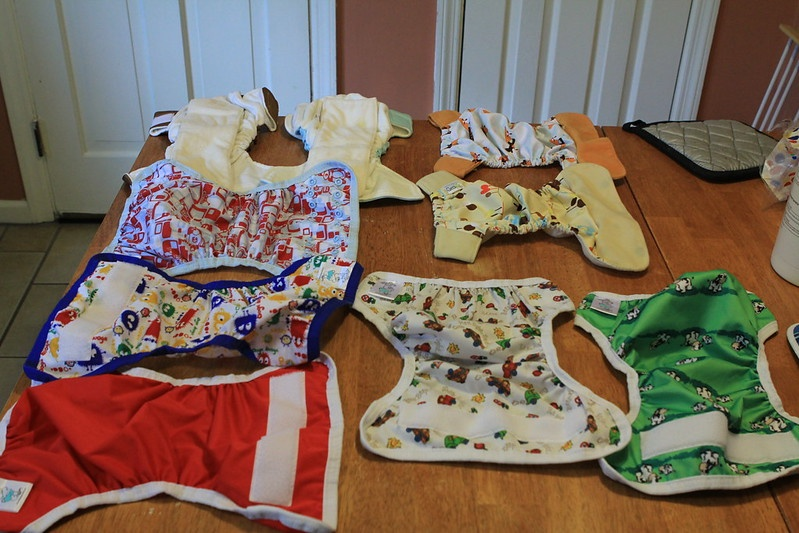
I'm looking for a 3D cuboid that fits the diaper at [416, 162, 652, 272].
[{"bbox_3d":[0.338,-0.119,1.662,0.354,0.086,0.292,0,37,-1],"label":"diaper"}]

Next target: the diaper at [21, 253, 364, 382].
[{"bbox_3d":[-0.423,0.110,1.450,0.541,0.083,0.321,4,38,-7],"label":"diaper"}]

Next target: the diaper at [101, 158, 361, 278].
[{"bbox_3d":[-0.393,-0.097,1.639,0.472,0.085,0.309,3,49,-10],"label":"diaper"}]

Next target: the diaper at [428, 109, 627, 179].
[{"bbox_3d":[0.395,-0.343,1.899,0.313,0.053,0.323,-2,41,-3],"label":"diaper"}]
